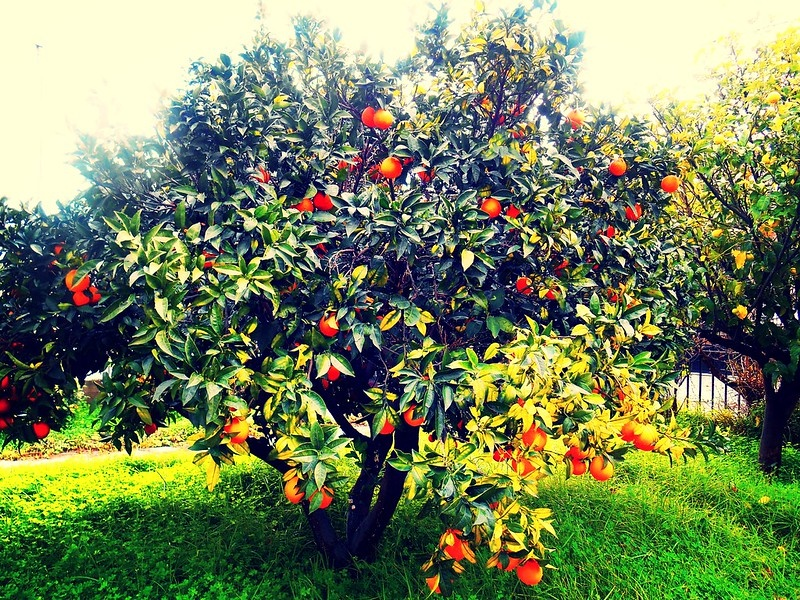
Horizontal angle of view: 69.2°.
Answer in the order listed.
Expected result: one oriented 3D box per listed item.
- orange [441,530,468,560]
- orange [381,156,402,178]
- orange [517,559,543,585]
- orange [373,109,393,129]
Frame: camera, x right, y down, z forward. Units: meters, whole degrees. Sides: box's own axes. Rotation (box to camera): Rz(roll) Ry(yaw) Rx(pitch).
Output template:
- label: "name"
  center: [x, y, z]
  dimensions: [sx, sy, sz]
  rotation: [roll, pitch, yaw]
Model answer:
- label: "orange"
  center: [0.320, 1.489, 3.500]
  dimensions: [0.140, 0.189, 0.050]
  rotation: [-12, -5, 22]
- label: "orange"
  center: [-0.057, -0.900, 3.926]
  dimensions: [0.118, 0.151, 0.182]
  rotation: [-1, 8, 3]
- label: "orange"
  center: [0.808, 1.709, 3.617]
  dimensions: [0.157, 0.198, 0.118]
  rotation: [-2, 8, 0]
- label: "orange"
  center: [-0.125, -1.228, 3.998]
  dimensions: [0.126, 0.158, 0.131]
  rotation: [2, 5, 27]
